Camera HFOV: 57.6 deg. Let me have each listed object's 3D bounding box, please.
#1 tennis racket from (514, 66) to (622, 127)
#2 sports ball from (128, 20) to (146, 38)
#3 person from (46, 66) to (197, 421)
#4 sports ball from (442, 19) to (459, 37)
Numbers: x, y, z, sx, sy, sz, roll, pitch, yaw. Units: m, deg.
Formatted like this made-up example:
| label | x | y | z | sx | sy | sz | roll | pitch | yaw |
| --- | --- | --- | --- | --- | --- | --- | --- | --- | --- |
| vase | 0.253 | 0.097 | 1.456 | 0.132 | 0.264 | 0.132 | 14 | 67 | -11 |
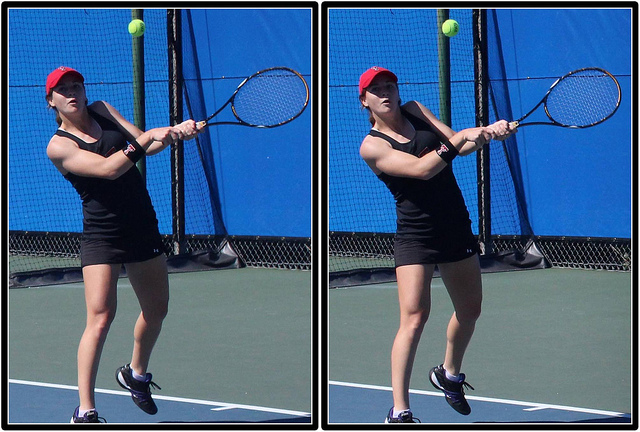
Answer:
| label | x | y | z | sx | sy | sz | roll | pitch | yaw |
| --- | --- | --- | --- | --- | --- | --- | --- | --- | --- |
| tennis racket | 2.005 | -0.933 | 4.583 | 0.572 | 0.501 | 0.541 | -1 | 3 | 2 |
| sports ball | -2.499 | -2.560 | 7.923 | 0.187 | 0.234 | 0.205 | -1 | 3 | 0 |
| person | -1.506 | 0.259 | 4.328 | 0.951 | 2.688 | 0.680 | -1 | 3 | -6 |
| sports ball | 1.719 | -2.498 | 7.729 | 0.209 | 0.236 | 0.187 | -1 | 3 | -2 |
